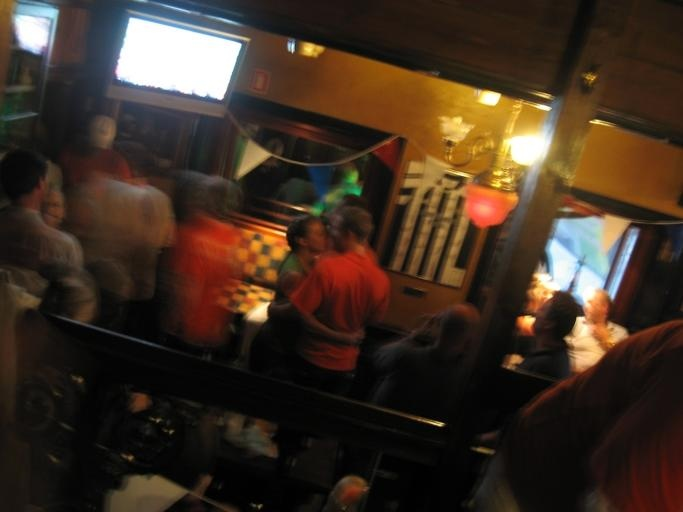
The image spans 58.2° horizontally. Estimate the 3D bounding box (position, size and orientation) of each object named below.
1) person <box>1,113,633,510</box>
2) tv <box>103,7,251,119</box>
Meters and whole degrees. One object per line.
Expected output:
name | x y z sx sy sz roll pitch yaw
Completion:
person | -0.337 0.556 3.165 3.910 0.494 0.317 14 -1 1
tv | -0.953 -1.093 3.598 0.695 0.439 0.375 14 6 -22
